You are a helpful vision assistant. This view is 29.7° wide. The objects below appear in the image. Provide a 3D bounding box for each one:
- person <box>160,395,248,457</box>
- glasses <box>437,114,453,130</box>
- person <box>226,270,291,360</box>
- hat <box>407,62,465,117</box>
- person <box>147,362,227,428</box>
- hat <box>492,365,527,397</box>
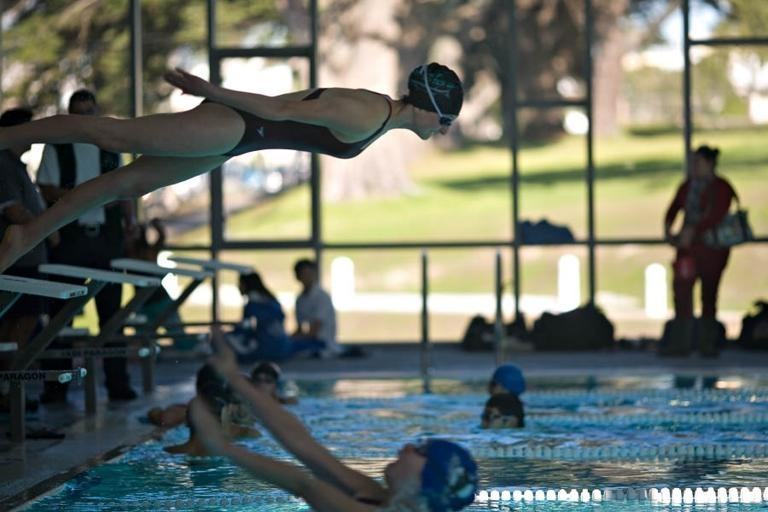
[{"bbox_3d":[-1.527,1.487,12.432,0.695,0.357,0.236,-2,-34,-14],"label":"person"},{"bbox_3d":[0.506,-1.151,12.340,0.123,0.092,0.106,0,2,23],"label":"glasses"},{"bbox_3d":[-1.493,0.732,16.122,0.785,1.019,0.741,-14,-16,42],"label":"person"},{"bbox_3d":[0.426,-1.440,12.447,0.546,0.508,0.423,2,19,4],"label":"hat"},{"bbox_3d":[-1.909,1.484,13.926,0.737,0.406,0.429,-6,15,-15],"label":"person"},{"bbox_3d":[1.181,1.179,13.813,0.315,0.289,0.243,28,21,35],"label":"hat"}]
